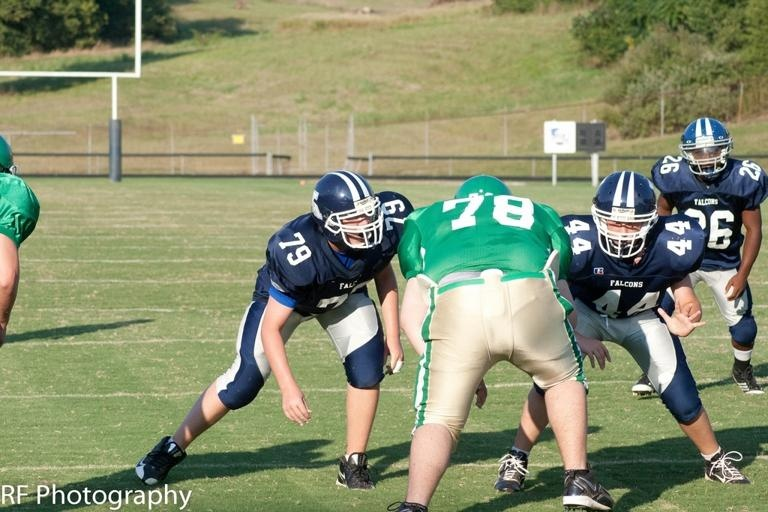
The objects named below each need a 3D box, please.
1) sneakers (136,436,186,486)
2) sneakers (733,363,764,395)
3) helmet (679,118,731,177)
[{"bbox_3d":[-1.846,1.720,10.897,0.260,0.194,0.593,-16,21,33],"label":"sneakers"},{"bbox_3d":[3.395,1.130,12.440,0.155,0.180,0.410,-15,37,-17],"label":"sneakers"},{"bbox_3d":[3.075,-1.146,12.781,0.514,0.484,0.580,-6,28,17],"label":"helmet"}]
